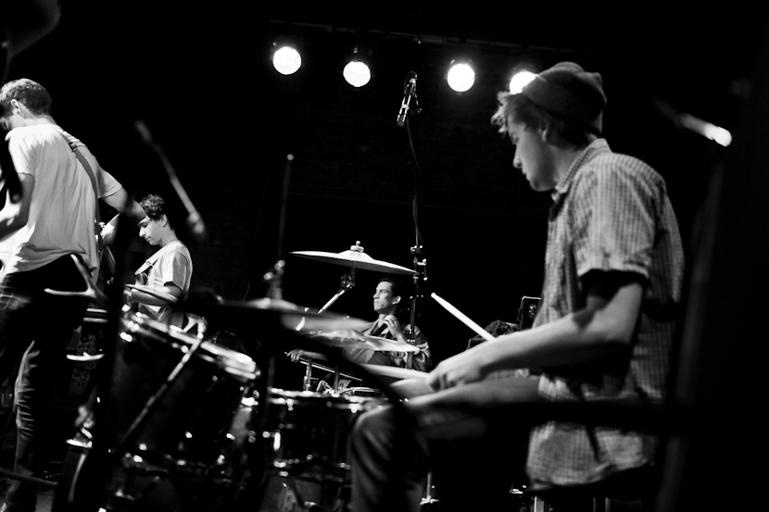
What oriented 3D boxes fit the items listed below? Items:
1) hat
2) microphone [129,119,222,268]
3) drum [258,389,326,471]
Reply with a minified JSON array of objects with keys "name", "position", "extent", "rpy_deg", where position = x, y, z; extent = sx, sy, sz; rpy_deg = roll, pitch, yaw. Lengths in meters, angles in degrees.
[{"name":"hat","position":[0.643,-0.559,2.677],"extent":[0.276,0.190,0.207],"rpy_deg":[18,10,9]},{"name":"microphone","position":[-1.581,-0.530,5.778],"extent":[0.196,0.230,1.318],"rpy_deg":[-21,-82,22]},{"name":"drum","position":[-0.393,0.750,3.288],"extent":[0.287,0.313,0.213],"rpy_deg":[5,-33,12]}]
